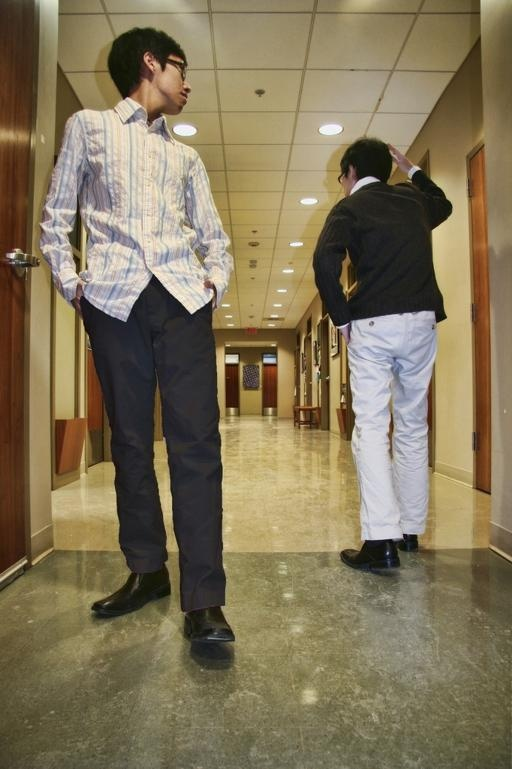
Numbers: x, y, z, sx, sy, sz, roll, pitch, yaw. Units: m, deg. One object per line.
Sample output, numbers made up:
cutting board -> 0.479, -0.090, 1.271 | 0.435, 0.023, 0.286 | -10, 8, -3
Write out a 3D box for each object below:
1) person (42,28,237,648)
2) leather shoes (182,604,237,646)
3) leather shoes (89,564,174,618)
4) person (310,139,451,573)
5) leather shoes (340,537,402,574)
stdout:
person -> -0.245, -0.153, 1.290 | 0.471, 1.432, 0.334 | -1, -2, 12
leather shoes -> -0.098, 0.488, 1.091 | 0.053, 0.085, 0.159 | 4, -21, -18
leather shoes -> -0.303, 0.504, 1.355 | 0.072, 0.117, 0.214 | -2, -5, 35
person -> 0.441, -0.155, 1.802 | 0.551, 1.458, 0.324 | 2, -3, -38
leather shoes -> 0.354, 0.514, 1.709 | 0.076, 0.116, 0.216 | -2, 1, -25
